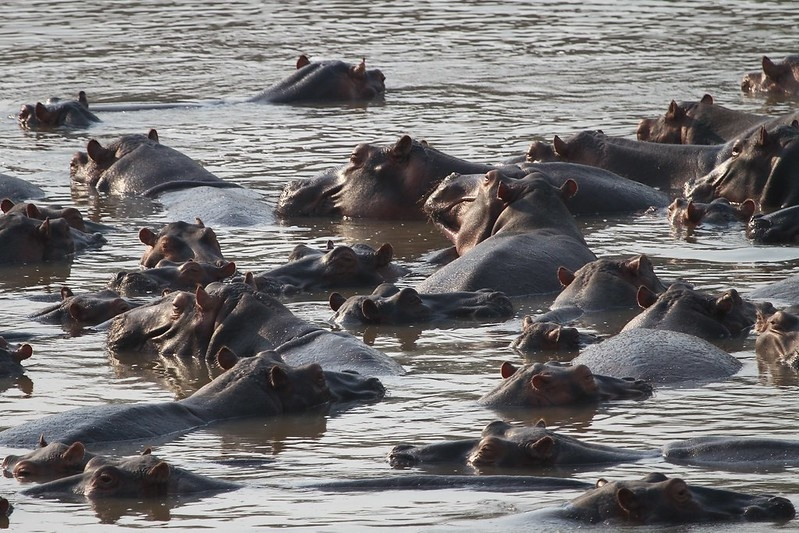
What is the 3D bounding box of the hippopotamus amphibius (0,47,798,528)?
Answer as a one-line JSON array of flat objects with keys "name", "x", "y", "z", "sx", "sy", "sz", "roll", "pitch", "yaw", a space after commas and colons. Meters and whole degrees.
[{"name": "hippopotamus amphibius", "x": 0.009, "y": 0.151, "z": 17.306, "sx": 7.389, "sy": 1.485, "sz": 5.923, "roll": -1, "pitch": 18, "yaw": -1}]
